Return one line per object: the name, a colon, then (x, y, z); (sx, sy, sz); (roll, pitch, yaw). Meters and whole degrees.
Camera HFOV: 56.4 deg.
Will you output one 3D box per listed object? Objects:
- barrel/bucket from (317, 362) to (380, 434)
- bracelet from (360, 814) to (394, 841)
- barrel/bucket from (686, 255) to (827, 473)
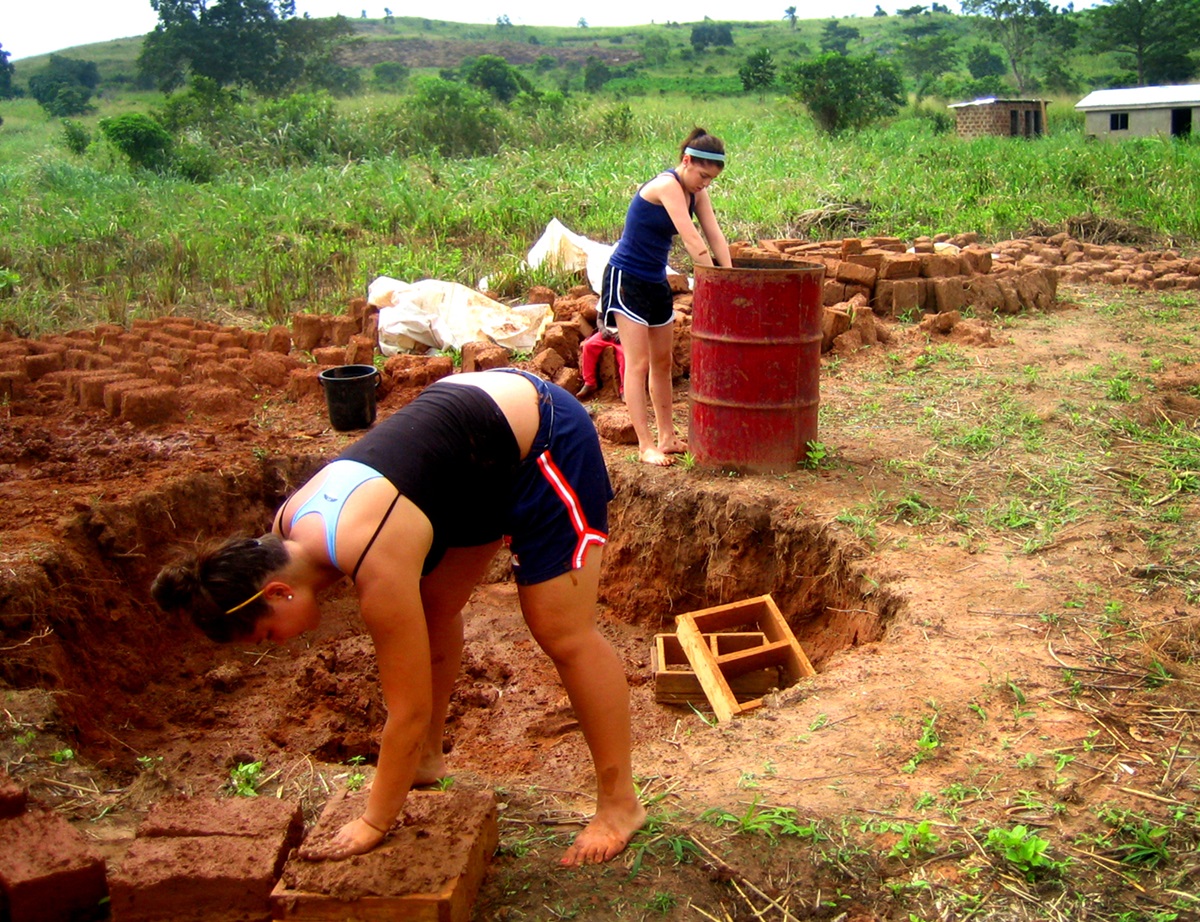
barrel/bucket: (-1.883, -0.478, 8.374); (0.455, 0.417, 0.437); (-2, 13, 0)
bracelet: (-0.898, 1.487, 4.549); (0.088, 0.049, 0.120); (2, 5, -36)
barrel/bucket: (1.026, -0.663, 7.333); (0.840, 1.318, 0.859); (1, 19, 0)
